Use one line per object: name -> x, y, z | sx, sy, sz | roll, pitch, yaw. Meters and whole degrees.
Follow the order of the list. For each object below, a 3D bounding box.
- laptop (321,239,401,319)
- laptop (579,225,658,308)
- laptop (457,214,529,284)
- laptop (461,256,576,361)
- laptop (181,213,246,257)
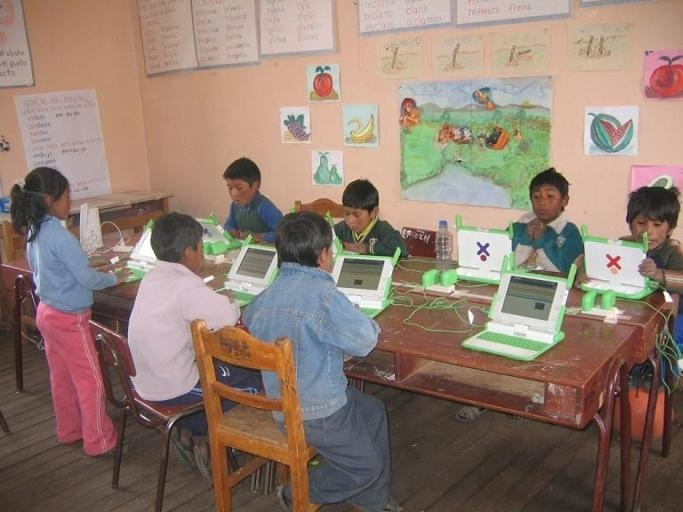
laptop -> 0.051, 0.115, 2.556 | 0.336, 0.211, 0.315 | 8, 13, 32
laptop -> 1.239, 0.060, 2.520 | 0.388, 0.293, 0.351 | -23, 22, -36
laptop -> 0.820, -0.027, 2.871 | 0.347, 0.413, 0.130 | 13, 28, 37
laptop -> 0.739, 0.212, 2.228 | 0.354, 0.305, 0.392 | 8, 18, 30
laptop -> -0.827, -0.144, 3.547 | 0.251, 0.164, 0.260 | 3, 5, 39
